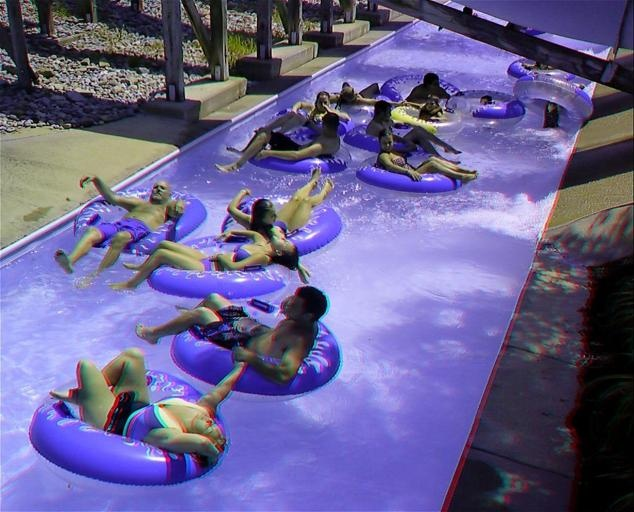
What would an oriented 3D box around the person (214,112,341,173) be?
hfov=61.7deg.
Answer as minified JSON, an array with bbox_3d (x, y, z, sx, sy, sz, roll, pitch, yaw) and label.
[{"bbox_3d":[-0.464,-1.441,6.990,1.770,0.605,0.762,1,23,2],"label":"person"}]

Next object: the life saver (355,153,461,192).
[{"bbox_3d":[1.004,-1.025,6.931,1.275,0.239,1.050,13,27,11],"label":"life saver"}]

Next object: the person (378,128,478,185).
[{"bbox_3d":[1.359,-1.326,6.861,1.305,0.538,0.726,-2,27,6],"label":"person"}]

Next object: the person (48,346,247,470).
[{"bbox_3d":[-0.987,0.928,3.287,0.990,0.411,0.727,19,8,24],"label":"person"}]

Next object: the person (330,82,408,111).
[{"bbox_3d":[0.793,-2.723,9.292,1.223,0.338,1.034,8,31,19],"label":"person"}]

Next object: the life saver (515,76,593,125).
[{"bbox_3d":[3.773,-2.362,8.594,1.006,0.215,0.923,17,5,18],"label":"life saver"}]

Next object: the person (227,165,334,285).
[{"bbox_3d":[-0.332,-0.457,5.369,0.829,0.578,1.415,31,64,10],"label":"person"}]

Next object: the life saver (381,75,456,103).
[{"bbox_3d":[1.635,-2.968,9.699,1.344,0.284,1.206,-13,26,-30],"label":"life saver"}]

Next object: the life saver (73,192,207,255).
[{"bbox_3d":[-1.802,-0.303,5.287,0.962,0.170,0.731,6,23,4],"label":"life saver"}]

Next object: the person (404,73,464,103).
[{"bbox_3d":[1.901,-2.913,9.317,0.718,0.285,0.825,-7,31,-10],"label":"person"}]

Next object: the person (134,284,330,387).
[{"bbox_3d":[-0.582,0.425,3.934,1.219,0.594,0.641,19,20,1],"label":"person"}]

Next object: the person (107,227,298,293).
[{"bbox_3d":[-0.919,-0.006,4.978,1.828,0.527,0.554,4,13,-3],"label":"person"}]

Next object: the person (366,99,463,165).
[{"bbox_3d":[1.314,-1.731,7.619,1.536,0.677,0.627,-2,11,-27],"label":"person"}]

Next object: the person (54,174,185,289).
[{"bbox_3d":[-1.900,-0.274,5.104,1.011,0.437,1.211,15,39,22],"label":"person"}]

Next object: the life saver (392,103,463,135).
[{"bbox_3d":[1.618,-2.063,8.169,0.859,0.170,0.778,13,16,21],"label":"life saver"}]
